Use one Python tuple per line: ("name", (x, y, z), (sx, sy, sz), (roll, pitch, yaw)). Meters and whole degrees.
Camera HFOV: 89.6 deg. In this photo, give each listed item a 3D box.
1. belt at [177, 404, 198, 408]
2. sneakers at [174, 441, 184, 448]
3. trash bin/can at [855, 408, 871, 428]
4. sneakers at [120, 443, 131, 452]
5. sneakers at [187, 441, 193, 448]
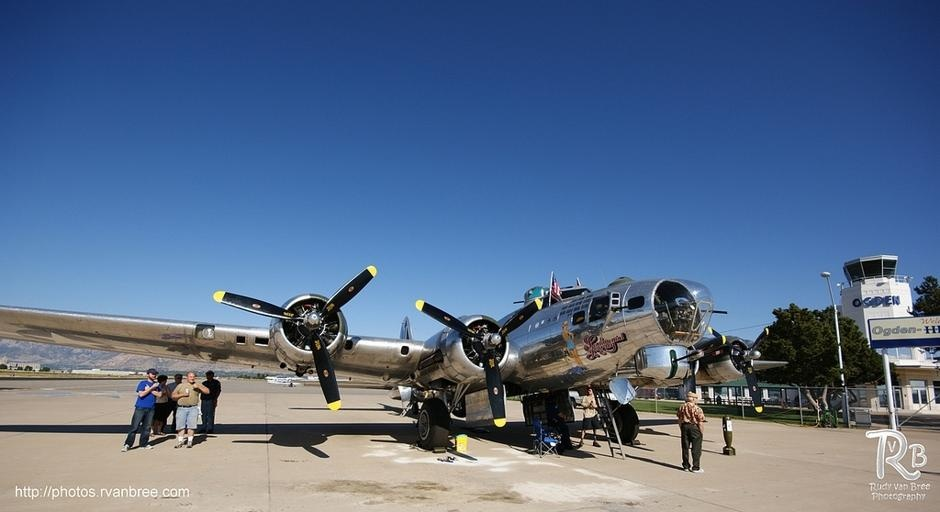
("belt", (-10.664, 5.693, 18.016), (0.306, 0.062, 0.289), (-1, -6, 18))
("sneakers", (-10.870, 7.031, 17.733), (0.269, 0.180, 0.438), (5, -11, -31))
("trash bin/can", (22.983, 9.445, 27.768), (0.769, 1.082, 0.695), (-9, -13, 40))
("sneakers", (-12.421, 6.906, 17.110), (0.226, 0.146, 0.390), (11, -15, -32))
("sneakers", (-10.562, 7.052, 17.910), (0.214, 0.259, 0.453), (5, -10, -28))
